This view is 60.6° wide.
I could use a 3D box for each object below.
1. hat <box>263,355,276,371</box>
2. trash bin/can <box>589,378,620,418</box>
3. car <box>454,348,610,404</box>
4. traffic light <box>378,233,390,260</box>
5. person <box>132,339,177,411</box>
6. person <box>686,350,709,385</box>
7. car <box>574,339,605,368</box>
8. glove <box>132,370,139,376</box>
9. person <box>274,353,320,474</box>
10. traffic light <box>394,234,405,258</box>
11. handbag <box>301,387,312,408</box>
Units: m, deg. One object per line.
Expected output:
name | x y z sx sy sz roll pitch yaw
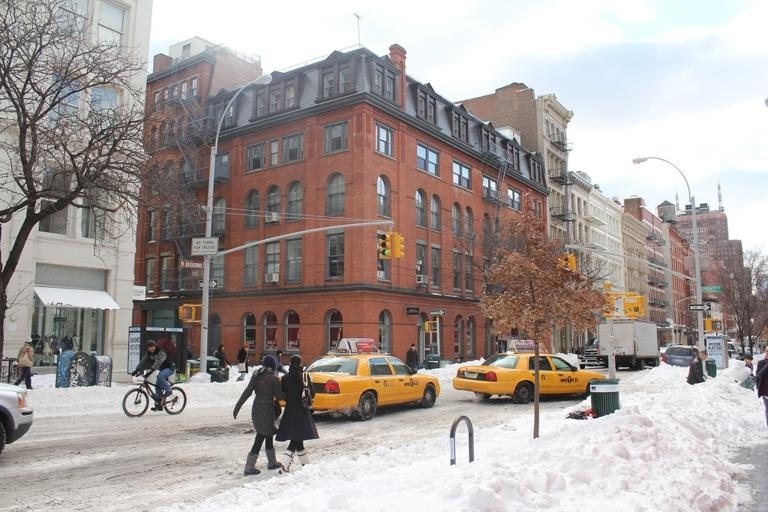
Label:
hat | -2.631 2.472 15.334 0.291 0.327 0.386 3 -1 -5
trash bin/can | 5.887 3.757 17.511 0.759 0.993 0.596 -5 -13 16
car | 5.418 4.652 25.300 4.913 1.962 2.037 4 -14 -24
traffic light | 0.035 -0.563 29.565 0.457 1.220 0.808 -3 -12 5
person | -7.365 3.785 21.335 1.152 2.319 0.787 3 -13 -19
person | 12.060 4.260 25.321 0.723 1.326 3.177 -7 -14 25
car | 15.212 7.049 47.797 1.949 1.861 3.412 -8 -19 27
glove | -7.935 3.729 21.062 0.278 0.187 0.443 2 -8 -25
person | -2.000 3.562 15.145 0.916 2.593 0.945 0 -12 -8
traffic light | 0.643 -0.526 30.017 0.347 0.937 0.624 -10 -15 35
handbag | -1.760 3.200 14.900 0.195 0.418 0.421 -3 -10 -4
